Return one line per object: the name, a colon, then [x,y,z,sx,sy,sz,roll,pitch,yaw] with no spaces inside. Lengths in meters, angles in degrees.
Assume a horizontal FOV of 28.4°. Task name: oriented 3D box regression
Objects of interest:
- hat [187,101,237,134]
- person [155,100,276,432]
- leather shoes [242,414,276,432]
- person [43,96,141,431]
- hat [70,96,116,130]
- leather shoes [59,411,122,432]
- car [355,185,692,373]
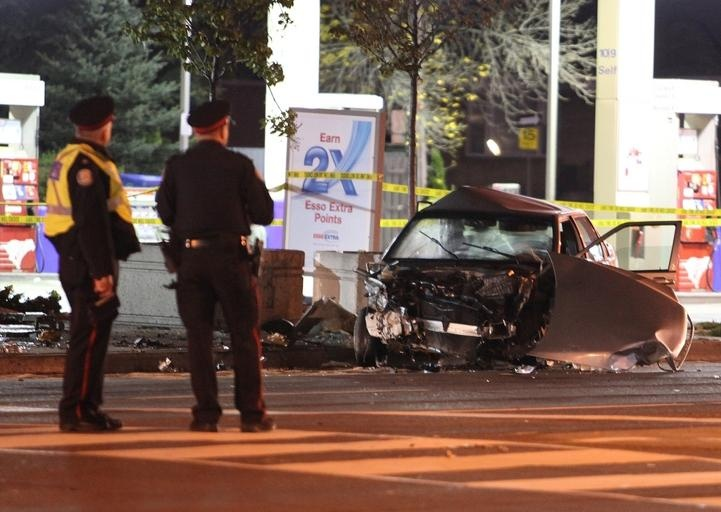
hat: [-1.527,-1.482,14.885,0.349,0.118,0.404,27,50,36]
person: [-1.455,0.089,14.848,1.203,3.426,0.616,1,5,0]
leather shoes: [-1.023,1.743,14.852,0.363,0.149,0.141,-5,8,-22]
person: [-2.773,0.064,14.803,0.903,3.445,0.537,0,5,-13]
hat: [-2.741,-1.502,14.806,0.409,0.108,0.363,-28,53,-21]
leather shoes: [-2.766,1.695,14.820,0.626,0.257,0.224,-3,23,-9]
car: [2.550,0.555,18.832,3.033,1.457,3.034,-2,-8,32]
